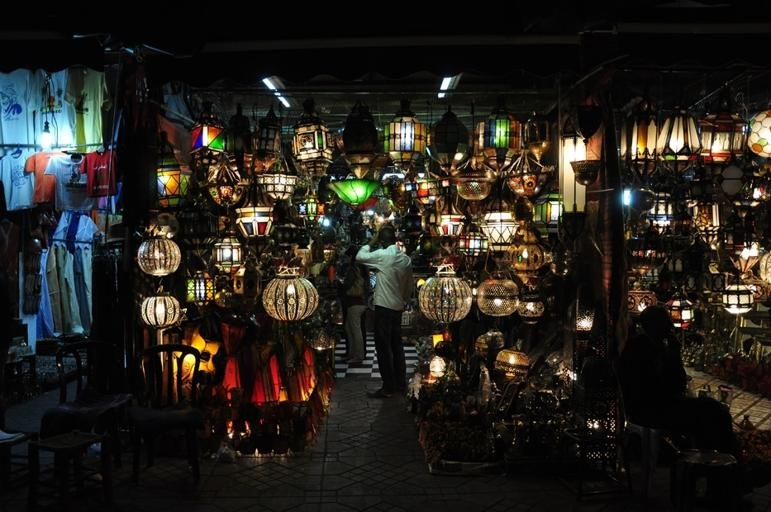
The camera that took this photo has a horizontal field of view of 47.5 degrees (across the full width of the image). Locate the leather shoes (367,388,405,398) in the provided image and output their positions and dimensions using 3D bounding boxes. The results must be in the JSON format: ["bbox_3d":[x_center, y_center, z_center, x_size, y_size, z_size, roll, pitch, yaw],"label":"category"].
[{"bbox_3d":[0.000,1.685,10.835,0.464,0.171,0.153,3,-6,-5],"label":"leather shoes"}]

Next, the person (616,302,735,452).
[{"bbox_3d":[2.600,1.065,7.904,0.441,1.203,1.050,-1,2,-44],"label":"person"}]
